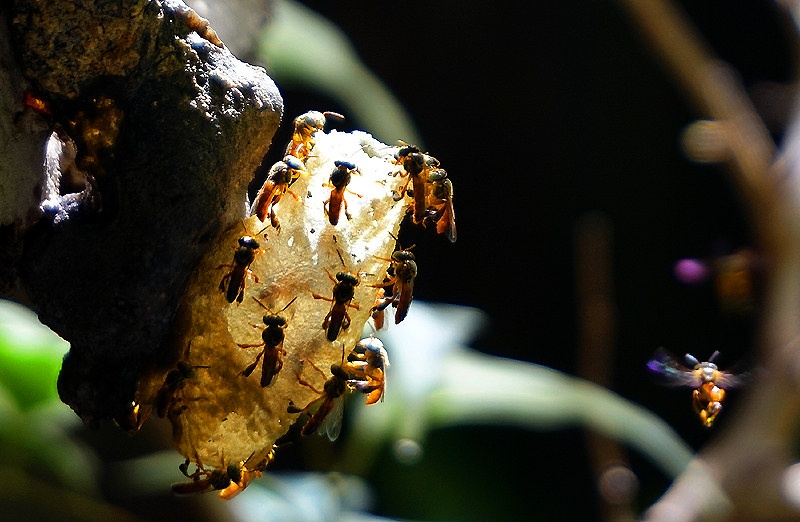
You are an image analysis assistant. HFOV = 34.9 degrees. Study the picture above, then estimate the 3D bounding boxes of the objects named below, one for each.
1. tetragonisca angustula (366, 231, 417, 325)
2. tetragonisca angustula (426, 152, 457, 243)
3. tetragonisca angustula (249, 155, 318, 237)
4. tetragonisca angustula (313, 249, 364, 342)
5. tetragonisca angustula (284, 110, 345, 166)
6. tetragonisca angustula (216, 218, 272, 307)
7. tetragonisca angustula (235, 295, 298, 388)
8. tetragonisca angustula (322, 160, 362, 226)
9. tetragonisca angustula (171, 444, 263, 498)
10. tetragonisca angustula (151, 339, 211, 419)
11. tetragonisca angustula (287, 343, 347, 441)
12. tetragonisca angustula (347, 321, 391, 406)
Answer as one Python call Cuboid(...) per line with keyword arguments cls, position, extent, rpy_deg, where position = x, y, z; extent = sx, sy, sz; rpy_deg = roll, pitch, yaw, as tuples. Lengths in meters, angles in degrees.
Cuboid(cls="tetragonisca angustula", position=(-0.046, 0.078, 4.709), extent=(0.230, 0.298, 0.094), rpy_deg=(6, -1, -28))
Cuboid(cls="tetragonisca angustula", position=(0.154, -0.226, 4.764), extent=(0.084, 0.269, 0.207), rpy_deg=(-2, 13, -5))
Cuboid(cls="tetragonisca angustula", position=(-0.430, -0.239, 4.592), extent=(0.089, 0.255, 0.258), rpy_deg=(32, -4, 1))
Cuboid(cls="tetragonisca angustula", position=(-0.216, 0.153, 4.649), extent=(0.192, 0.246, 0.077), rpy_deg=(13, 7, 5))
Cuboid(cls="tetragonisca angustula", position=(-0.322, -0.464, 4.706), extent=(0.145, 0.194, 0.060), rpy_deg=(36, -1, 16))
Cuboid(cls="tetragonisca angustula", position=(-0.565, 0.012, 4.575), extent=(0.107, 0.295, 0.137), rpy_deg=(16, 10, 39))
Cuboid(cls="tetragonisca angustula", position=(-0.470, 0.295, 4.600), extent=(0.220, 0.296, 0.093), rpy_deg=(7, 3, 18))
Cuboid(cls="tetragonisca angustula", position=(-0.221, -0.258, 4.593), extent=(0.162, 0.248, 0.082), rpy_deg=(-5, 40, -23))
Cuboid(cls="tetragonisca angustula", position=(-0.651, 0.801, 4.650), extent=(0.200, 0.076, 0.260), rpy_deg=(17, -32, -36))
Cuboid(cls="tetragonisca angustula", position=(-0.768, 0.432, 4.589), extent=(0.184, 0.257, 0.083), rpy_deg=(37, 4, 4))
Cuboid(cls="tetragonisca angustula", position=(-0.246, 0.487, 4.716), extent=(0.251, 0.335, 0.114), rpy_deg=(25, -6, -37))
Cuboid(cls="tetragonisca angustula", position=(-0.107, 0.404, 4.785), extent=(0.182, 0.238, 0.089), rpy_deg=(29, 53, 11))
